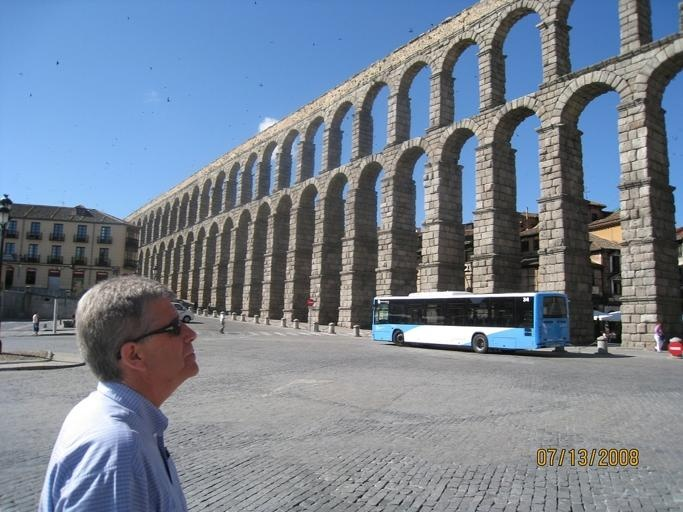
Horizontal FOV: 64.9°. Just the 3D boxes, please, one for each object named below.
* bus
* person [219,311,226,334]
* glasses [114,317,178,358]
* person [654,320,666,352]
[{"bbox_3d":[5.155,2.793,23.296,2.481,2.618,8.718,8,-12,-38],"label":"bus"},{"bbox_3d":[-6.798,3.793,30.577,0.299,1.194,1.920,3,-10,-13],"label":"person"},{"bbox_3d":[-1.069,0.402,2.968,0.245,0.069,0.232,-24,4,-18],"label":"glasses"},{"bbox_3d":[13.058,3.261,22.090,0.324,1.252,1.267,-5,-11,29],"label":"person"}]
